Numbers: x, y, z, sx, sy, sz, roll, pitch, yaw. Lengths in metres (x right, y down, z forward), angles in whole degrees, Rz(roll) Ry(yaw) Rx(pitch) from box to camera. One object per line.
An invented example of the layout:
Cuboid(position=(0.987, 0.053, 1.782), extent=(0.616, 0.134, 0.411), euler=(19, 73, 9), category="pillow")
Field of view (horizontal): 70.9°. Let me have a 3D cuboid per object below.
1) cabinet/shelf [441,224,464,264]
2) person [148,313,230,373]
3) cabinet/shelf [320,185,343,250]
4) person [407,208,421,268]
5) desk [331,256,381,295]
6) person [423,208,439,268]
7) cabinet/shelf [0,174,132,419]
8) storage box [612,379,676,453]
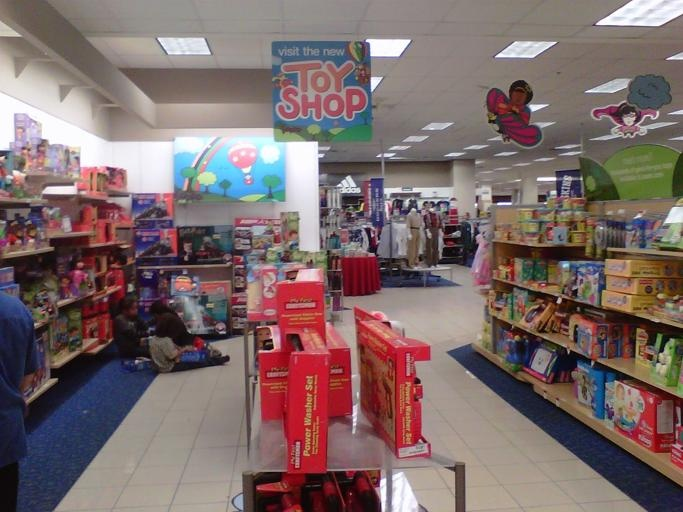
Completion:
Cuboid(position=(3.830, -0.386, 16.476), extent=(0.713, 1.395, 1.150), euler=(0, 6, 12), category="cabinet/shelf")
Cuboid(position=(-2.023, 1.065, 6.350), extent=(1.054, 0.718, 0.718), euler=(-2, -3, -9), category="person")
Cuboid(position=(-0.216, -0.754, 9.611), extent=(0.333, 1.237, 0.806), euler=(-1, 6, 6), category="cabinet/shelf")
Cuboid(position=(1.970, -0.458, 12.921), extent=(0.367, 1.512, 0.739), euler=(-1, 6, 8), category="person")
Cuboid(position=(0.469, 0.435, 11.480), extent=(1.117, 0.769, 1.094), euler=(-2, 7, 22), category="desk")
Cuboid(position=(2.505, -0.467, 13.349), extent=(0.410, 1.464, 0.763), euler=(0, 6, 16), category="person")
Cuboid(position=(-3.018, 0.468, 5.285), extent=(0.830, 1.594, 2.567), euler=(-3, 7, -7), category="cabinet/shelf")
Cuboid(position=(2.460, 1.299, 3.966), extent=(0.182, 0.465, 0.473), euler=(-4, 7, -25), category="storage box")
